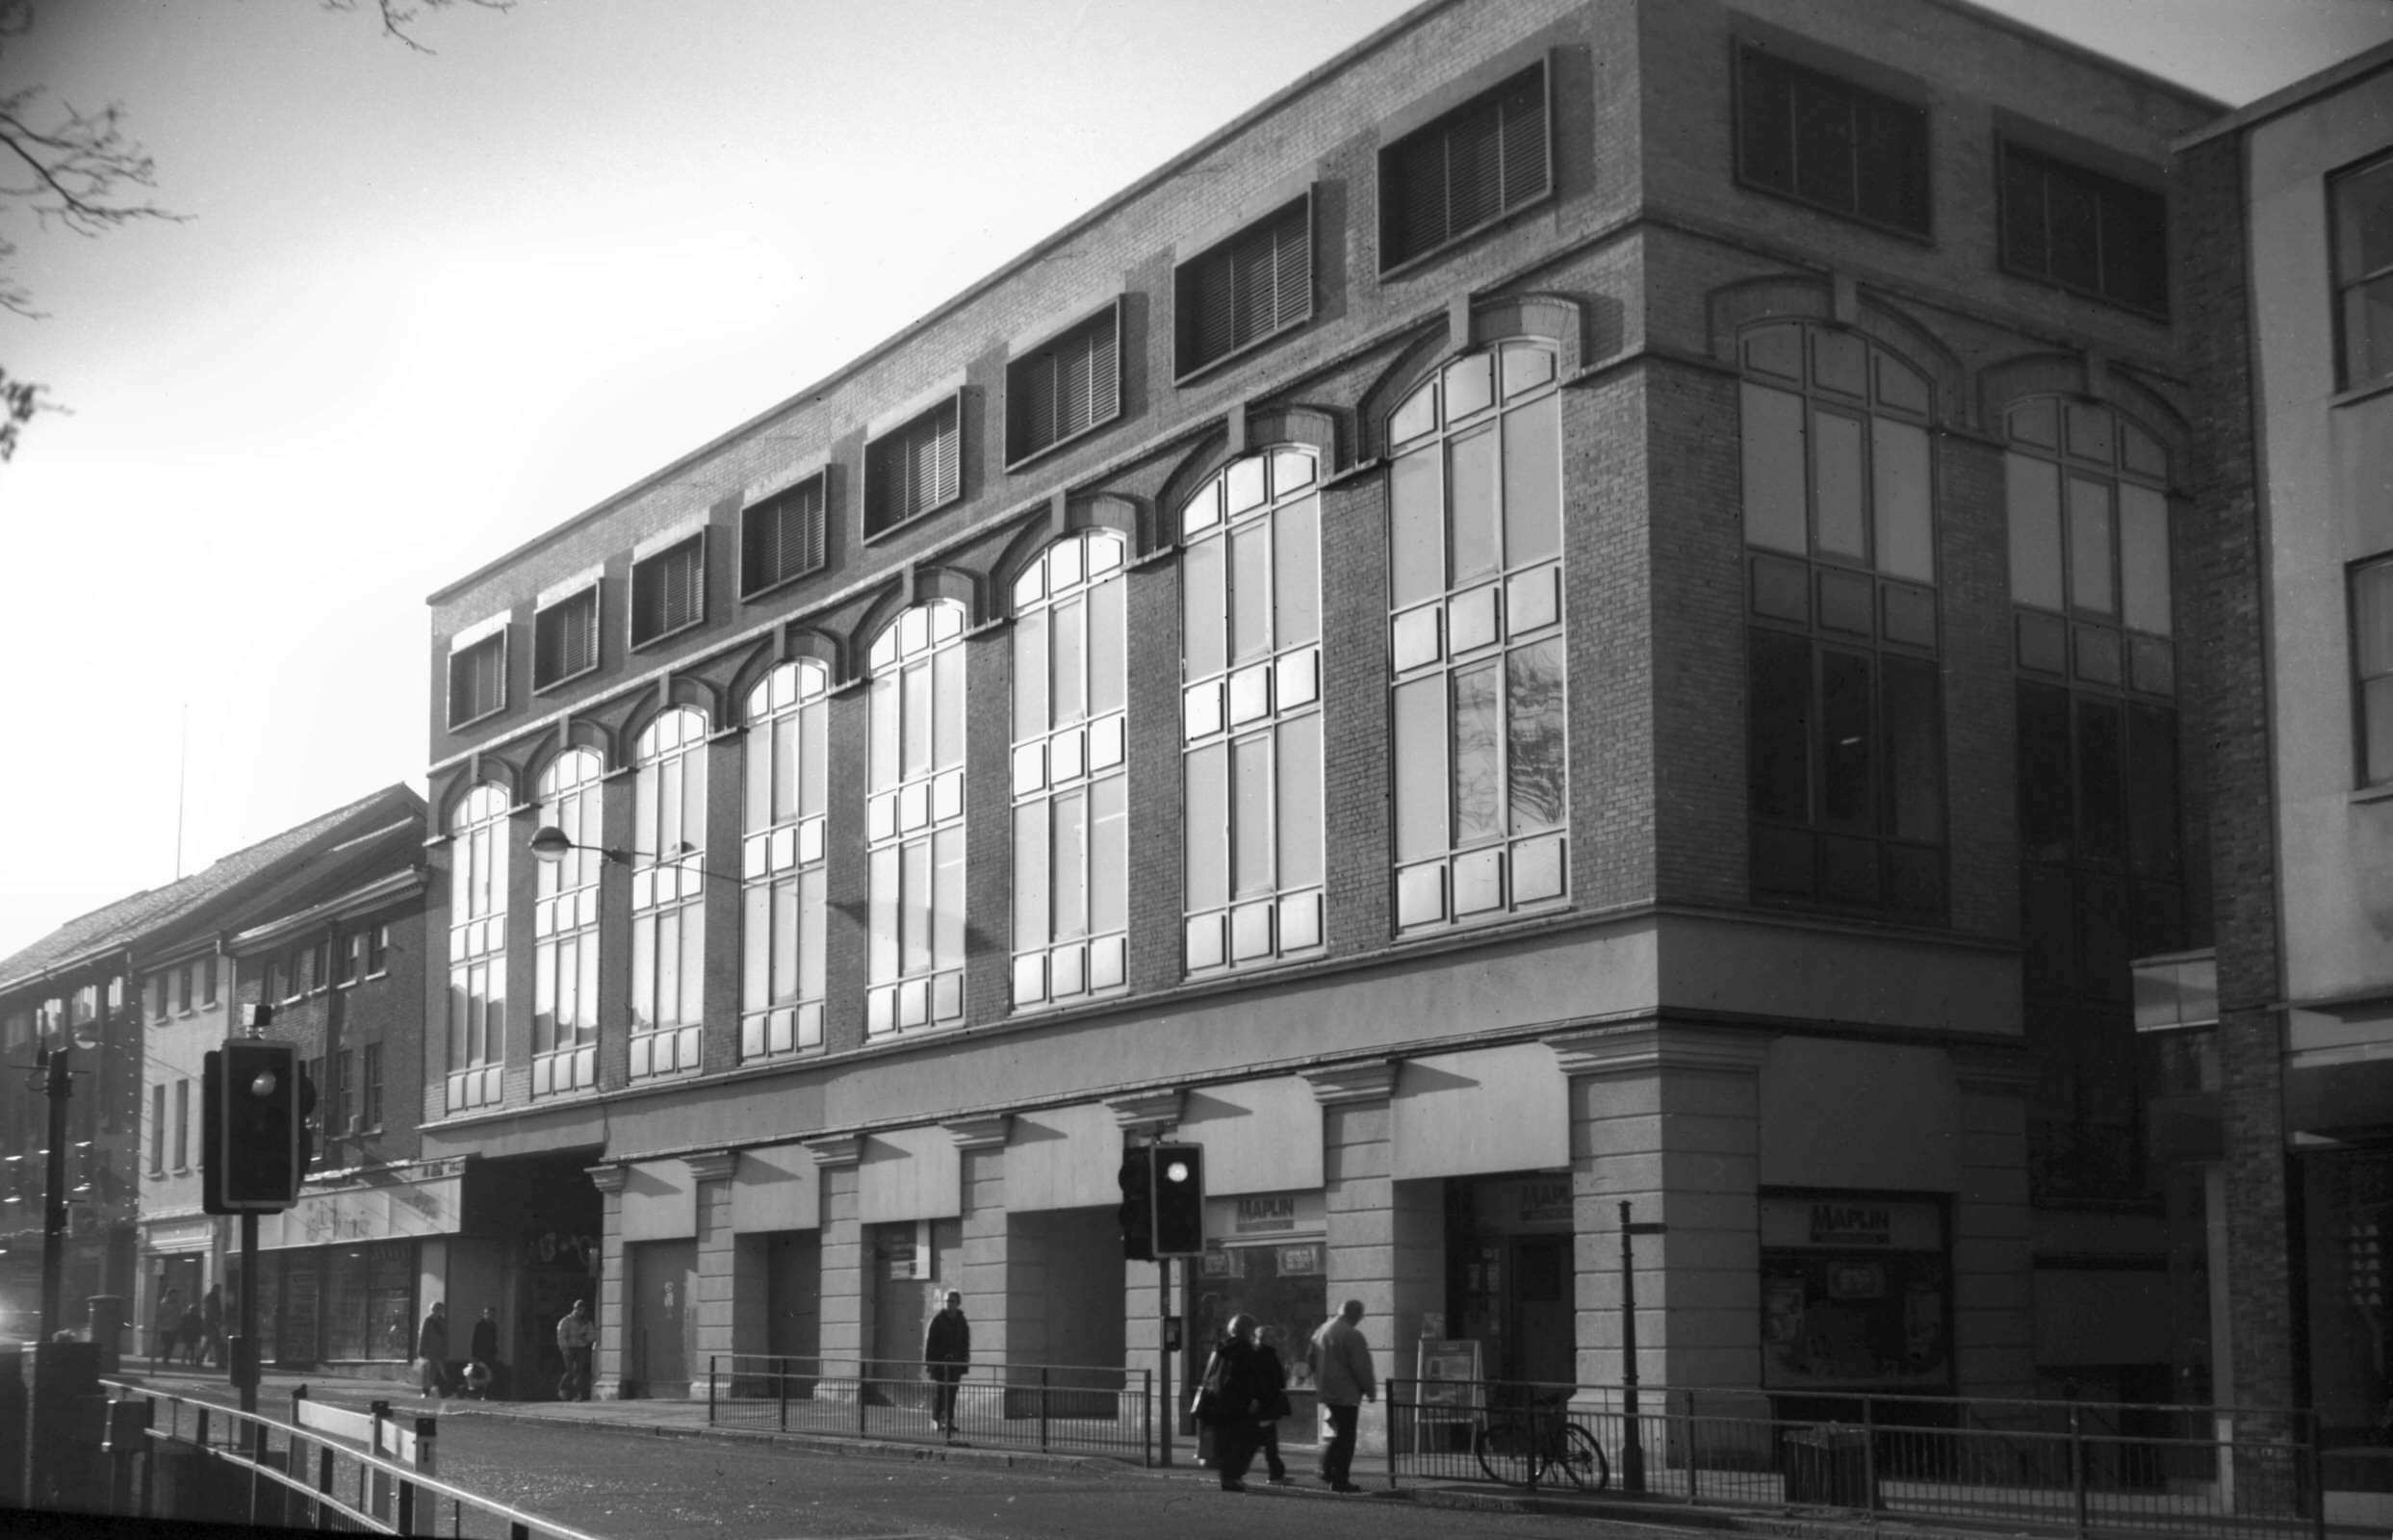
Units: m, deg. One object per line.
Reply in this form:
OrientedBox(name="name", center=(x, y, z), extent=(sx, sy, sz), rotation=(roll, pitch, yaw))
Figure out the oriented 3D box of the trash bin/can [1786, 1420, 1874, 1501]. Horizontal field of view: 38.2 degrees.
OrientedBox(name="trash bin/can", center=(7.751, 8.494, 42.361), extent=(0.583, 0.900, 1.073), rotation=(6, -8, -34))
